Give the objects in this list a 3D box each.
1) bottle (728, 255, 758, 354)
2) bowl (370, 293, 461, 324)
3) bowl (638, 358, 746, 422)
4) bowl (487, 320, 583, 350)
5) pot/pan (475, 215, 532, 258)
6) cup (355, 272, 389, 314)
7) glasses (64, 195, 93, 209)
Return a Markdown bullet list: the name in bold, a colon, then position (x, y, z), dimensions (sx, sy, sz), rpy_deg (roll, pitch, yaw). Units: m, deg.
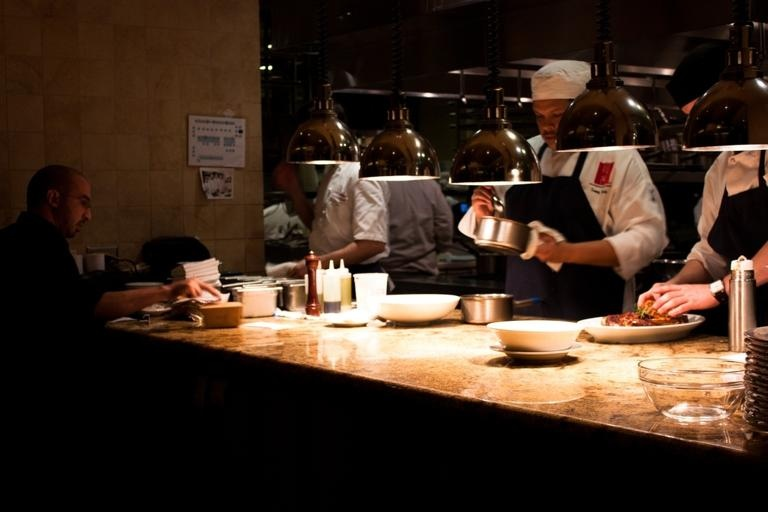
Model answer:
- **bottle**: position (1.491, 0.195, 2.777), dimensions (0.104, 0.396, 0.160), rpy_deg (2, 10, 26)
- **bowl**: position (0.171, 0.278, 3.572), dimensions (0.426, 0.156, 0.344), rpy_deg (-2, 7, -4)
- **bowl**: position (0.973, 0.405, 2.101), dimensions (0.255, 0.102, 0.235), rpy_deg (-2, -1, 0)
- **bowl**: position (0.639, 0.333, 2.802), dimensions (0.396, 0.089, 0.374), rpy_deg (0, 2, 0)
- **pot/pan**: position (0.578, -0.106, 3.320), dimensions (0.226, 0.196, 0.204), rpy_deg (-8, 10, -39)
- **cup**: position (-0.085, 0.195, 3.638), dimensions (0.227, 0.197, 0.210), rpy_deg (1, -4, 0)
- **glasses**: position (-1.832, -0.334, 3.986), dimensions (0.151, 0.041, 0.146), rpy_deg (0, 0, 35)
